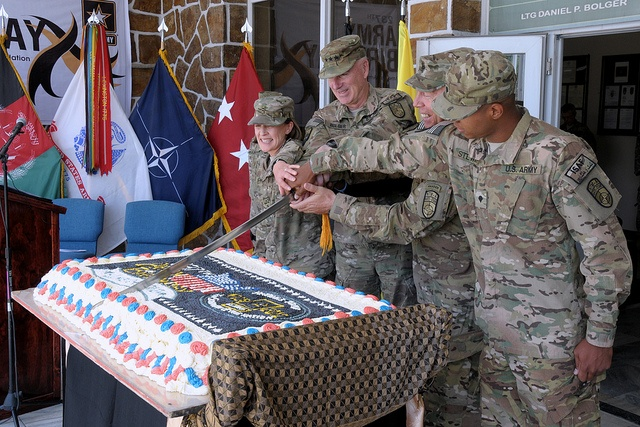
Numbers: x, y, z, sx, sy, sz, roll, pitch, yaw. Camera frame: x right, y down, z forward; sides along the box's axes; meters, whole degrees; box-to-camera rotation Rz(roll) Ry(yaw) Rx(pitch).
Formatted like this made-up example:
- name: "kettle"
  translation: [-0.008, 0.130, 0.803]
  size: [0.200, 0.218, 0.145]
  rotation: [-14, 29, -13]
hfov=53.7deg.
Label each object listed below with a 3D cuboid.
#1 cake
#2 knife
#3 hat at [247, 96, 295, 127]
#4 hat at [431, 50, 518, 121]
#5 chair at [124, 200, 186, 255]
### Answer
- name: "cake"
  translation: [-0.531, 0.562, 3.419]
  size: [1.184, 0.267, 0.737]
  rotation: [12, 21, 43]
- name: "knife"
  translation: [-0.944, 0.220, 4.795]
  size: [1.439, 0.180, 0.115]
  rotation: [-31, -5, 0]
- name: "hat"
  translation: [-0.329, -0.702, 4.361]
  size: [0.180, 0.130, 0.278]
  rotation: [1, 10, 19]
- name: "hat"
  translation: [0.797, -0.603, 3.262]
  size: [0.383, 0.212, 0.314]
  rotation: [-20, 46, 5]
- name: "chair"
  translation: [-1.670, 0.147, 6.556]
  size: [0.415, 0.703, 0.564]
  rotation: [1, 1, -4]
